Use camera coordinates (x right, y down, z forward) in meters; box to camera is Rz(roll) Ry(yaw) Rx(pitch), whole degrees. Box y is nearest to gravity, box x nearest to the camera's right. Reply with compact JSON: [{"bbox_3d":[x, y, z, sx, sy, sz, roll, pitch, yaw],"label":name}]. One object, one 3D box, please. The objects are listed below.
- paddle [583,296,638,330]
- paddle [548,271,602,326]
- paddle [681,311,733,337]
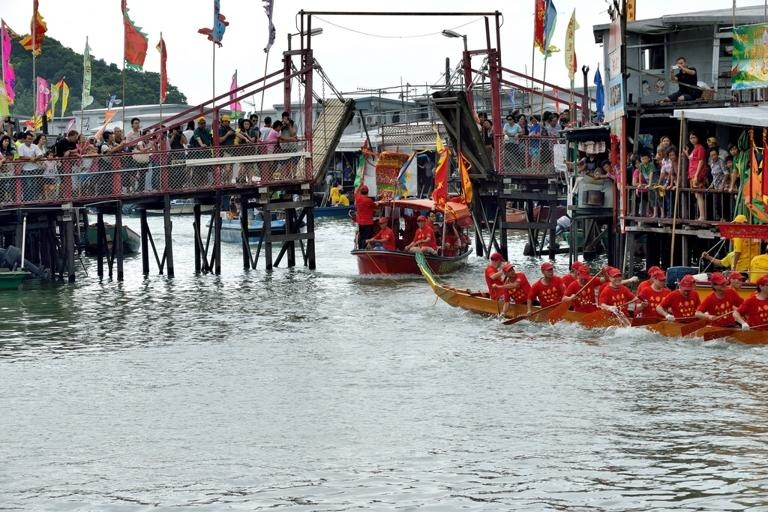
[{"bbox_3d":[5.877,1.621,43.627,0.541,0.633,1.725,3,-1,-30],"label":"paddle"},{"bbox_3d":[5.052,1.196,44.274,2.253,0.246,0.245,-36,12,-11],"label":"paddle"},{"bbox_3d":[8.378,1.795,42.626,1.985,0.305,0.267,-11,11,10],"label":"paddle"}]
